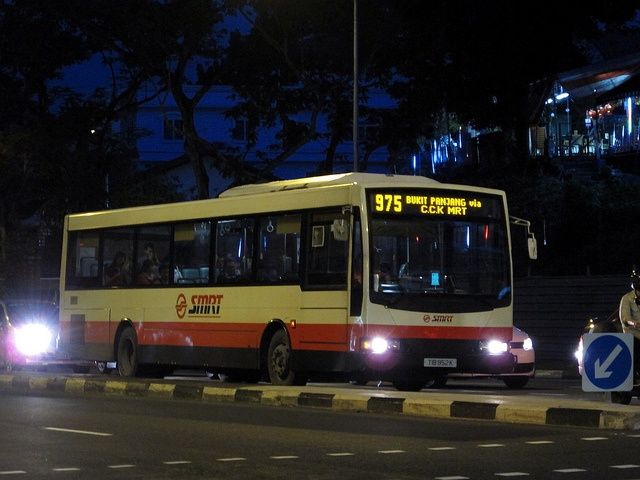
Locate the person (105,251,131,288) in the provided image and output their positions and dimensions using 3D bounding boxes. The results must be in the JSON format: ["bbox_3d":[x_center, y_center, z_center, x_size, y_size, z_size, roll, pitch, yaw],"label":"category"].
[{"bbox_3d":[-5.401,0.863,18.435,0.647,1.042,0.327,0,-7,38],"label":"person"}]

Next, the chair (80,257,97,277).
[{"bbox_3d":[-6.451,0.739,19.318,0.472,0.572,0.511,0,-3,-4],"label":"chair"}]

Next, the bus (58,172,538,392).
[{"bbox_3d":[-1.565,1.090,17.053,13.225,4.814,4.257,-10,-13,42],"label":"bus"}]
